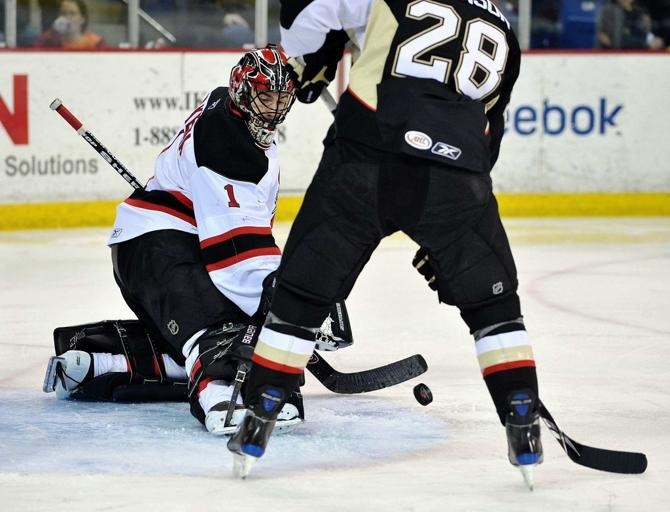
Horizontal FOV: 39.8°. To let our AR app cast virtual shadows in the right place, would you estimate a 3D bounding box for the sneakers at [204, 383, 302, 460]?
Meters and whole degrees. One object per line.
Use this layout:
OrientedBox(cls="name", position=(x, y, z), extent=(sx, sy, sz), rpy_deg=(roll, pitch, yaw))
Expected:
OrientedBox(cls="sneakers", position=(-0.255, 0.457, 2.576), extent=(0.186, 0.097, 0.268), rpy_deg=(4, -2, -27))
